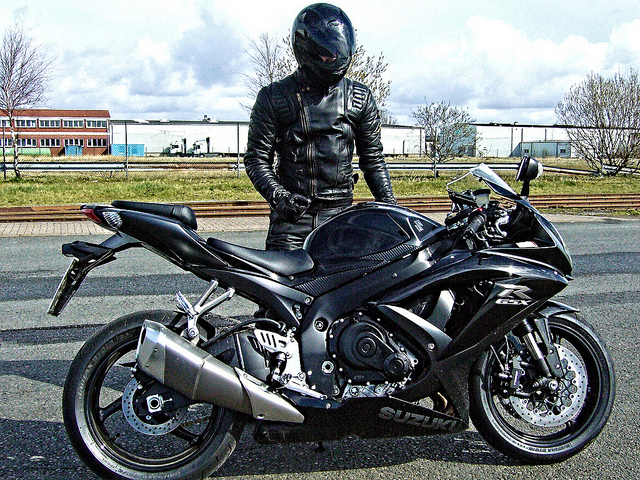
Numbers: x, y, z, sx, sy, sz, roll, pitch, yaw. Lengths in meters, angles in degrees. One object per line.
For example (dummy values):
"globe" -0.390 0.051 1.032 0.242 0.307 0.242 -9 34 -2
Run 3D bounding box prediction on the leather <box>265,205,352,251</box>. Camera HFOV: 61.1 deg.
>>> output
"leather" -0.116 -0.084 4.013 0.610 0.414 0.411 12 9 -26

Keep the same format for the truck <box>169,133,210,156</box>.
"truck" -16.710 -11.804 68.445 5.076 2.589 2.243 0 3 -4

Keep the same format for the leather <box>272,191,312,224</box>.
"leather" -0.201 -0.240 3.616 0.186 0.108 0.231 -3 40 -16

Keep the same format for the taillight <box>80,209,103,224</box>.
"taillight" -1.298 -0.138 3.046 0.102 0.042 0.074 24 15 -2

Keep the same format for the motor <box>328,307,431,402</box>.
"motor" 0.320 0.659 3.206 0.582 0.459 0.181 -1 -2 -9

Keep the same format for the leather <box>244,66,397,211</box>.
"leather" 0.012 -0.755 4.067 1.078 1.010 0.634 -4 17 -18
